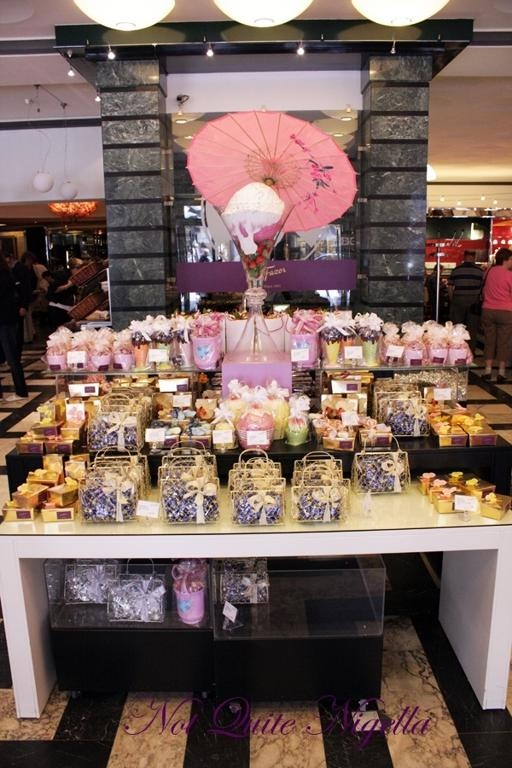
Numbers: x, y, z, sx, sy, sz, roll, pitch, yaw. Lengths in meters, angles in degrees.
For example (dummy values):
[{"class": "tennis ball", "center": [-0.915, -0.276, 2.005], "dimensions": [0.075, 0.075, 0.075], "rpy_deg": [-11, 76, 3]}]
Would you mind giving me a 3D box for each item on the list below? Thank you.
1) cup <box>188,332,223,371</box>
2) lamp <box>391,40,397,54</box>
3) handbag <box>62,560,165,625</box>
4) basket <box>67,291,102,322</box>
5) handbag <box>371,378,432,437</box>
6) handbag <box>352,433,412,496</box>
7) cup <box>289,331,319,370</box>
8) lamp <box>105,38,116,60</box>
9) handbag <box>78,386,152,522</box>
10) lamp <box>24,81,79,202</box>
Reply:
[{"class": "cup", "center": [-0.219, -0.141, 2.549], "dimensions": [0.152, 0.129, 0.132], "rpy_deg": [2, 13, 2]}, {"class": "lamp", "center": [1.086, -2.664, 4.449], "dimensions": [0.055, 0.099, 0.034], "rpy_deg": [9, 36, 20]}, {"class": "handbag", "center": [-0.478, 0.714, 1.901], "dimensions": [0.317, 0.188, 0.106], "rpy_deg": [1, -2, 1]}, {"class": "basket", "center": [-2.010, -0.951, 6.704], "dimensions": [0.369, 0.097, 0.357], "rpy_deg": [-46, 9, -22]}, {"class": "handbag", "center": [0.610, 0.067, 2.420], "dimensions": [0.186, 0.092, 0.261], "rpy_deg": [-1, 45, 3]}, {"class": "handbag", "center": [0.473, 0.311, 2.135], "dimensions": [0.212, 0.231, 0.096], "rpy_deg": [-1, 10, -1]}, {"class": "cup", "center": [0.224, -0.153, 2.557], "dimensions": [0.141, 0.158, 0.100], "rpy_deg": [-2, 8, -5]}, {"class": "lamp", "center": [-1.117, -2.595, 4.353], "dimensions": [0.059, 0.076, 0.140], "rpy_deg": [-2, 27, -5]}, {"class": "handbag", "center": [-0.500, 0.255, 2.179], "dimensions": [0.187, 0.276, 0.607], "rpy_deg": [3, 32, -7]}, {"class": "lamp", "center": [-2.617, -3.069, 7.424], "dimensions": [0.789, 1.185, 1.387], "rpy_deg": [-4, 9, -21]}]
